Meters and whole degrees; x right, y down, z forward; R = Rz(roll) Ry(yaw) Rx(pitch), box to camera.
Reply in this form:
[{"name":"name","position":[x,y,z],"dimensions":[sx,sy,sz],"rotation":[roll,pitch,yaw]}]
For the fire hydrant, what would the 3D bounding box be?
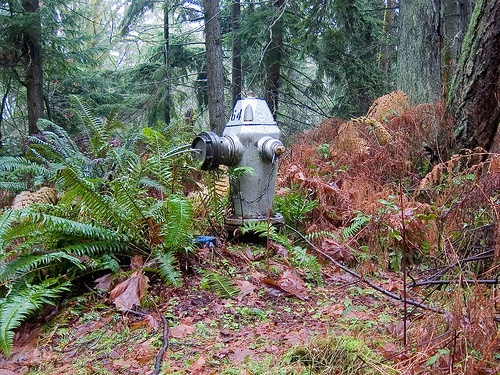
[{"name":"fire hydrant","position":[-0.100,-0.258,5.450],"dimensions":[1.008,1.587,0.819],"rotation":[0,24,1]}]
